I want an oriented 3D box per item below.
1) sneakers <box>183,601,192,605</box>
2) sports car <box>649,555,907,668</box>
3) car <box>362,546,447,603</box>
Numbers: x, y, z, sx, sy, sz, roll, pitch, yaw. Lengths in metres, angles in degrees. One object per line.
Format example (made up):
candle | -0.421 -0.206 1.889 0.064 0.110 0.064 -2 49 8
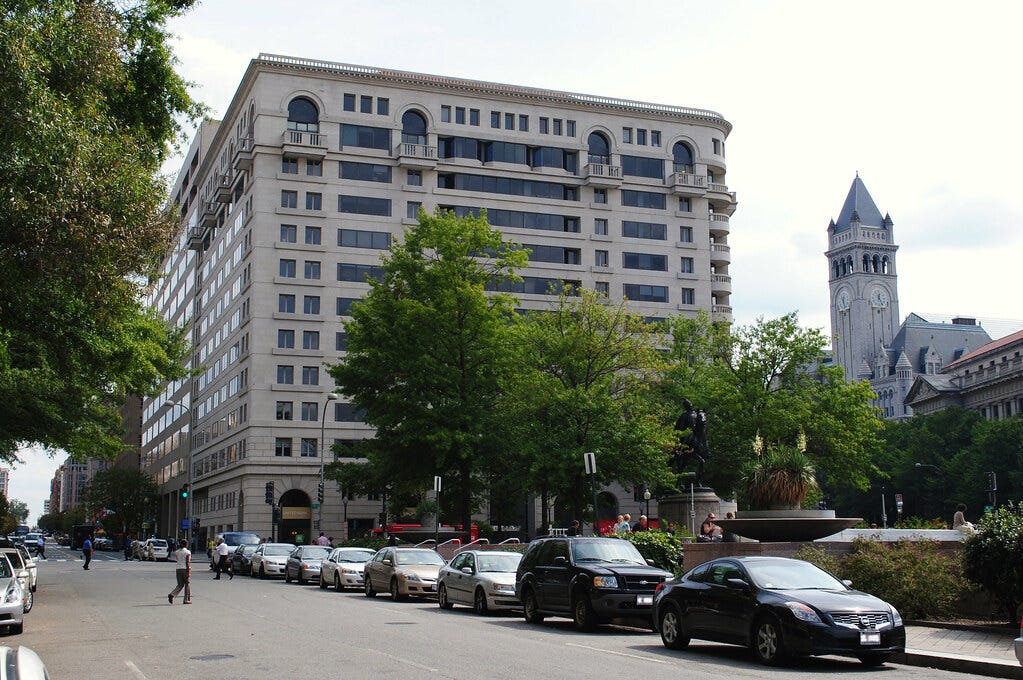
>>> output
sneakers | -10.756 8.727 41.841 0.350 0.140 0.119 -10 -10 36
sports car | 6.041 6.776 31.075 2.554 1.674 5.257 8 -17 -33
car | -3.642 8.221 44.414 1.539 1.920 3.848 10 -16 -28
